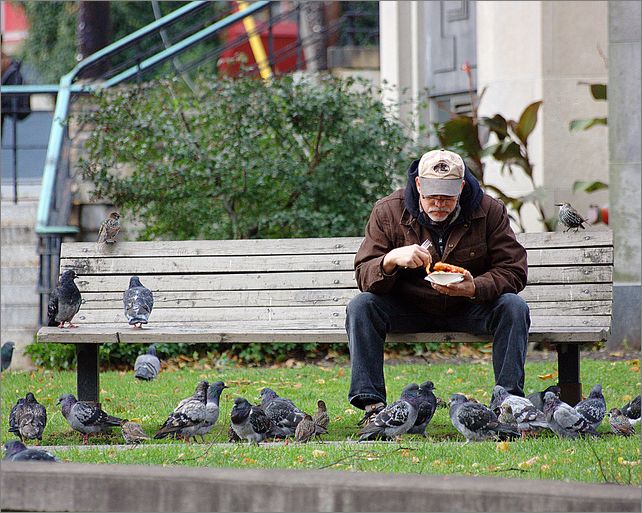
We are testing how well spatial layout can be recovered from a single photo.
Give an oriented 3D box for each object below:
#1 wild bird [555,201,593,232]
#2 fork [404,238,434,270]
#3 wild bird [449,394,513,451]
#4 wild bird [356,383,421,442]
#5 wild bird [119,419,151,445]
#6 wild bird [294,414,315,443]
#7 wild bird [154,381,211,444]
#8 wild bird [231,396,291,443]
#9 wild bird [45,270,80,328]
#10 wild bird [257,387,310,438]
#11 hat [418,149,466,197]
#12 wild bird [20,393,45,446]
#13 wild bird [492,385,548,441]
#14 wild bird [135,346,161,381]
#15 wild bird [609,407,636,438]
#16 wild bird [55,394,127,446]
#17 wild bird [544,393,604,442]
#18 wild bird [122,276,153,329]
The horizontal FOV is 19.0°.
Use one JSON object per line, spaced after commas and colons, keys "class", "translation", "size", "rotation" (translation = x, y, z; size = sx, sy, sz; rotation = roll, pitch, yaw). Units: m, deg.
{"class": "wild bird", "translation": [3.151, -0.528, 24.490], "size": [0.525, 0.478, 0.276], "rotation": [-1, -1, 17]}
{"class": "fork", "translation": [1.143, -0.040, 21.764], "size": [0.088, 0.099, 0.355], "rotation": [11, 47, 21]}
{"class": "wild bird", "translation": [1.752, 1.836, 21.441], "size": [0.851, 0.587, 0.312], "rotation": [1, 3, 12]}
{"class": "wild bird", "translation": [0.735, 1.795, 21.531], "size": [0.762, 0.648, 0.455], "rotation": [-3, -9, 6]}
{"class": "wild bird", "translation": [-2.147, 2.017, 21.831], "size": [0.285, 0.279, 0.455], "rotation": [-3, 0, -25]}
{"class": "wild bird", "translation": [-0.209, 1.951, 21.495], "size": [0.225, 0.324, 0.252], "rotation": [-3, 0, -2]}
{"class": "wild bird", "translation": [-1.592, 1.783, 21.712], "size": [0.745, 0.671, 0.349], "rotation": [-3, 0, -29]}
{"class": "wild bird", "translation": [-0.743, 1.853, 21.561], "size": [0.591, 0.515, 0.304], "rotation": [-3, 0, -4]}
{"class": "wild bird", "translation": [-3.072, 0.507, 22.672], "size": [0.405, 0.683, 0.493], "rotation": [-3, 0, -9]}
{"class": "wild bird", "translation": [-0.427, 1.855, 21.806], "size": [0.674, 0.672, 0.361], "rotation": [-2, -14, 18]}
{"class": "hat", "translation": [1.333, -0.946, 21.657], "size": [0.341, 0.365, 0.592], "rotation": [3, 22, 2]}
{"class": "wild bird", "translation": [-3.347, 1.882, 21.917], "size": [0.310, 0.611, 0.318], "rotation": [-3, 0, 4]}
{"class": "wild bird", "translation": [2.216, 1.737, 21.411], "size": [0.683, 0.561, 0.405], "rotation": [1, 5, 17]}
{"class": "wild bird", "translation": [-2.297, 1.419, 24.789], "size": [0.307, 0.585, 0.829], "rotation": [9, -3, 0]}
{"class": "wild bird", "translation": [3.369, 1.888, 21.578], "size": [0.276, 0.305, 0.277], "rotation": [-3, 0, 8]}
{"class": "wild bird", "translation": [-2.713, 1.890, 22.036], "size": [0.772, 0.571, 0.433], "rotation": [-3, 0, 9]}
{"class": "wild bird", "translation": [2.786, 1.807, 21.451], "size": [0.583, 0.789, 0.314], "rotation": [-12, 19, -3]}
{"class": "wild bird", "translation": [-2.182, 0.545, 22.471], "size": [0.340, 0.606, 0.455], "rotation": [-3, 0, -7]}
